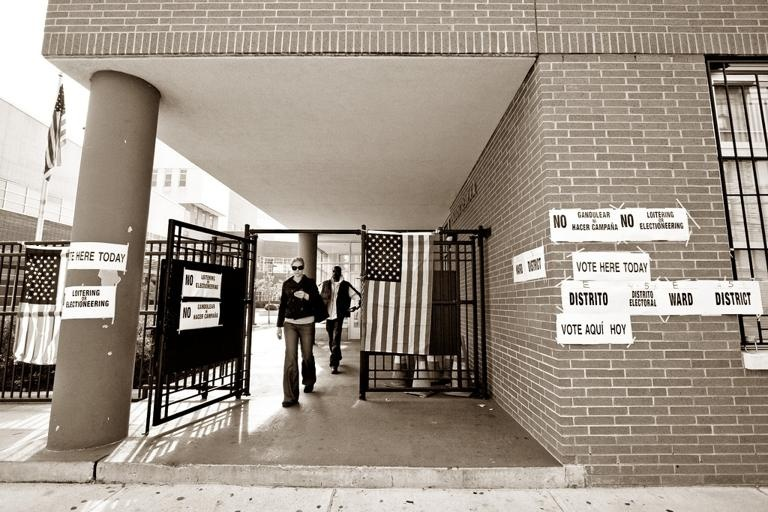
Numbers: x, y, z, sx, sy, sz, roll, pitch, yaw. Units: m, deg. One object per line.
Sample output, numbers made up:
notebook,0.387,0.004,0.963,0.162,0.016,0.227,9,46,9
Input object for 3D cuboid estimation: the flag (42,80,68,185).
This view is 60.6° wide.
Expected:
flag,-7.765,-2.929,15.444,0.574,2.271,1.563,-6,13,-27

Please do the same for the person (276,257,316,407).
person,-1.603,1.390,11.928,0.707,2.584,1.359,2,12,10

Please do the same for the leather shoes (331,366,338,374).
leather shoes,-1.052,2.461,14.095,0.146,0.140,0.345,-1,11,-4

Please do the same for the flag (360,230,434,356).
flag,0.252,0.671,11.907,1.279,2.135,0.778,1,12,3

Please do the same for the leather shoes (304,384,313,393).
leather shoes,-1.407,2.508,12.364,0.109,0.149,0.060,12,-5,-7

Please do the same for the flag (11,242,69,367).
flag,-6.178,0.978,11.714,0.949,2.104,0.055,3,-4,11
